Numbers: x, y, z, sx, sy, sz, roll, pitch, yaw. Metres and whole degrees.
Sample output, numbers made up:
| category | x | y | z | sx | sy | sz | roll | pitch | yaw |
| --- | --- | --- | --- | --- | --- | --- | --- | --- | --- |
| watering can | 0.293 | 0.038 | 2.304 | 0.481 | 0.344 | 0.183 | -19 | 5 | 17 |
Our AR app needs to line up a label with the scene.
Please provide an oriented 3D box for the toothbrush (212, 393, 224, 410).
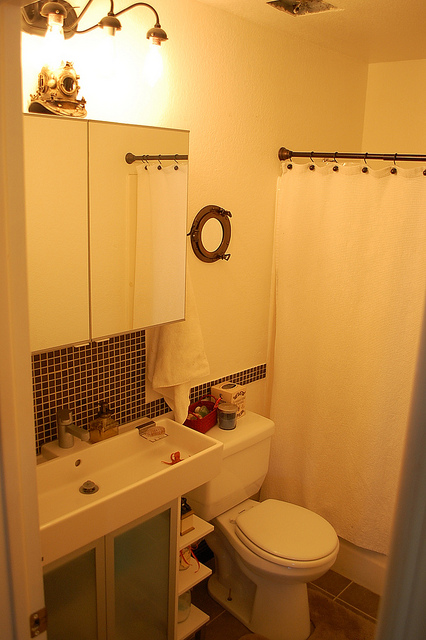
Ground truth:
| category | x | y | z | sx | sy | sz | roll | pitch | yaw |
| --- | --- | --- | --- | --- | --- | --- | --- | --- | --- |
| toothbrush | 0.023 | 0.359 | 2.270 | 0.016 | 0.056 | 0.041 | 23 | 12 | -6 |
